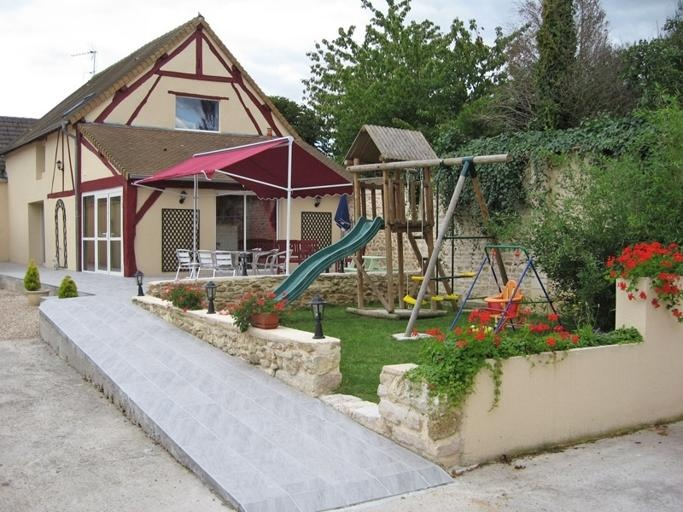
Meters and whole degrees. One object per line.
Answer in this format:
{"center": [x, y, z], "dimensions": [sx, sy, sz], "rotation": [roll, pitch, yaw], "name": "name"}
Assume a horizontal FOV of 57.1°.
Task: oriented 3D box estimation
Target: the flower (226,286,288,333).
{"center": [-1.365, 0.834, 10.208], "dimensions": [0.677, 0.563, 0.654], "rotation": [1, 8, -3], "name": "flower"}

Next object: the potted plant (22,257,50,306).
{"center": [-8.159, 0.719, 16.763], "dimensions": [0.554, 1.199, 1.772], "rotation": [0, 1, -27], "name": "potted plant"}

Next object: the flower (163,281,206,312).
{"center": [-2.920, 0.765, 12.099], "dimensions": [0.522, 0.421, 0.515], "rotation": [5, 0, 18], "name": "flower"}

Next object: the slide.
{"center": [-0.296, 0.010, 13.571], "dimensions": [2.640, 1.796, 0.788], "rotation": [-1, 1, -36], "name": "slide"}
